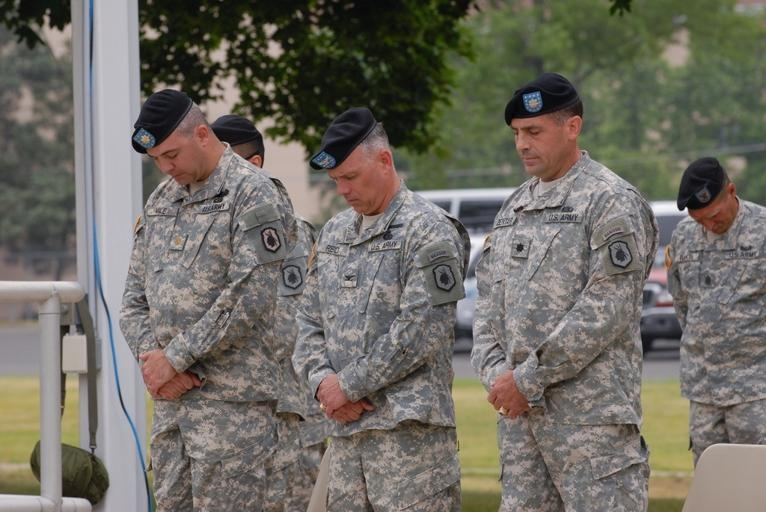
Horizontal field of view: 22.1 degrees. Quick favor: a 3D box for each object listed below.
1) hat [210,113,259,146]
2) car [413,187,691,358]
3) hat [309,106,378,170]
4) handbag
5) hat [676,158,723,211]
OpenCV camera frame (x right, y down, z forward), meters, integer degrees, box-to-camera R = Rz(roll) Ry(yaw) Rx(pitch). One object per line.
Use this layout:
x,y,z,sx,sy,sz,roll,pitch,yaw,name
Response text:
-1.237,-1.086,16.937,0.266,0.122,0.367,14,11,43,hat
2.665,-0.077,30.692,4.155,1.745,2.186,-2,-2,14,car
-0.316,-0.943,15.653,0.561,0.218,0.401,-41,27,-7,hat
-2.495,1.772,15.893,0.676,0.459,0.376,14,14,37,handbag
2.788,-0.623,17.061,0.429,0.452,0.276,0,1,7,hat
